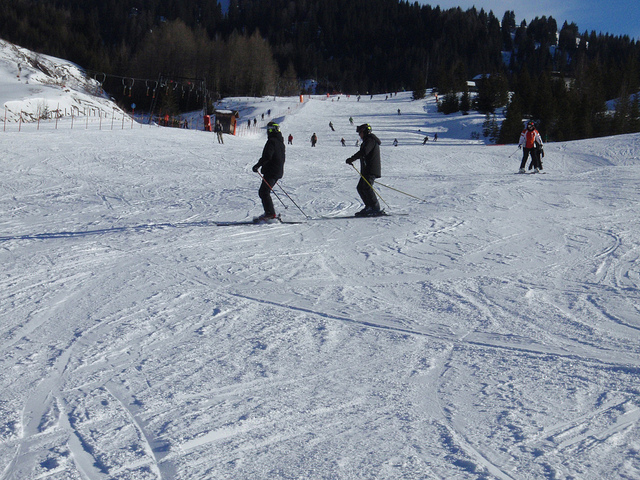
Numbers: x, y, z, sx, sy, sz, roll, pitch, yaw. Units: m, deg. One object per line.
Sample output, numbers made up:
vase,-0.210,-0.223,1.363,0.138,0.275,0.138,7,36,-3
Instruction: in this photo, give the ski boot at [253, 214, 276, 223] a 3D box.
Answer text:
ski boot,-0.909,-0.357,10.412,0.378,0.122,0.113,-2,2,-14

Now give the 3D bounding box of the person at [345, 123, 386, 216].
person,0.883,-1.299,11.477,0.723,1.613,1.317,3,15,3

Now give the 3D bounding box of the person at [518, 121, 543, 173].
person,5.908,-2.615,17.690,0.614,1.435,2.094,6,15,17

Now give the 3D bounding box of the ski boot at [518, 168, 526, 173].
ski boot,5.543,-1.946,17.265,0.155,0.153,0.375,-2,0,15
